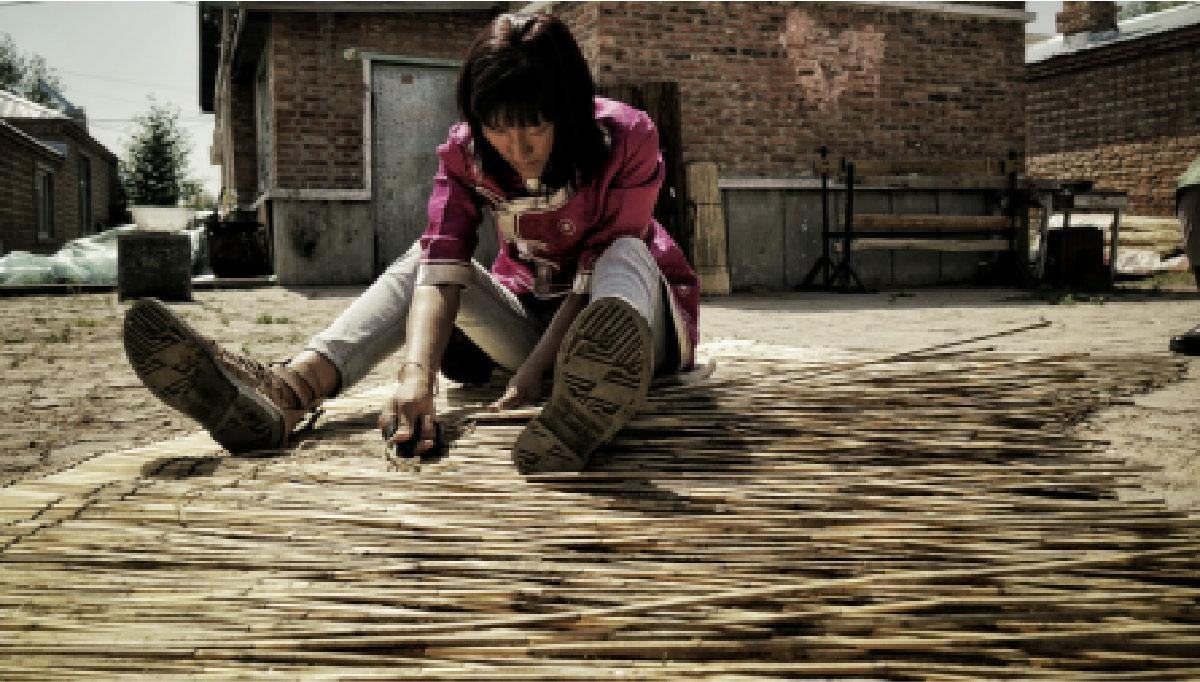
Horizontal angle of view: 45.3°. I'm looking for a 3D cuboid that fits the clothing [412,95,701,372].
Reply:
[{"bbox_3d":[-0.190,-0.807,11.077,1.843,0.991,2.135,-9,-20,10],"label":"clothing"}]
